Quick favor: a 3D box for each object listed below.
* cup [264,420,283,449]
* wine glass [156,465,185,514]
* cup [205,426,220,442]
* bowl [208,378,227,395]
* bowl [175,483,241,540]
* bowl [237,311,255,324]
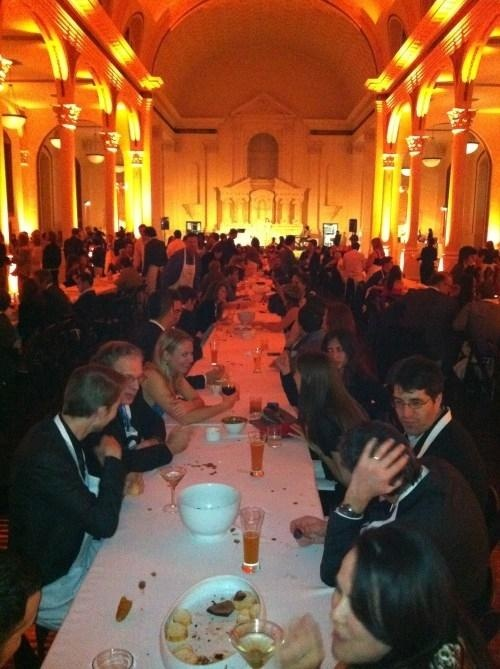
[{"bbox_3d":[0.132,0.530,2.532,0.101,0.111,0.092,1,3,0],"label":"cup"},{"bbox_3d":[-0.273,0.601,1.855,0.134,0.168,0.140,2,2,-2],"label":"wine glass"},{"bbox_3d":[-0.194,0.531,2.534,0.070,0.052,0.072,4,8,-1],"label":"cup"},{"bbox_3d":[-0.240,0.364,3.411,0.144,0.142,0.103,1,9,1],"label":"bowl"},{"bbox_3d":[-0.144,0.602,1.621,0.254,0.160,0.257,0,-11,0],"label":"bowl"},{"bbox_3d":[-0.042,-0.202,5.711,0.163,0.132,0.165,0,-1,0],"label":"bowl"}]
